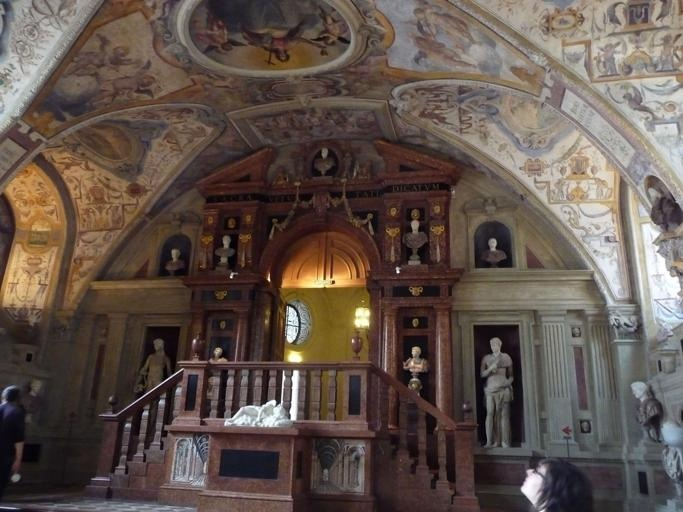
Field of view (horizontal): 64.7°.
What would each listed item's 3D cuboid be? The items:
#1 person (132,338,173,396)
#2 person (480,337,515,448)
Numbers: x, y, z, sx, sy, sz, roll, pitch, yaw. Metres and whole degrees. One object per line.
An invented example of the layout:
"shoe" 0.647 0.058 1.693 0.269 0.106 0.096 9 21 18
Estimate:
"person" -3.829 2.255 10.973 0.586 1.212 0.436 -14 -26 34
"person" 2.791 2.444 9.623 0.558 1.873 0.468 -3 -21 10
